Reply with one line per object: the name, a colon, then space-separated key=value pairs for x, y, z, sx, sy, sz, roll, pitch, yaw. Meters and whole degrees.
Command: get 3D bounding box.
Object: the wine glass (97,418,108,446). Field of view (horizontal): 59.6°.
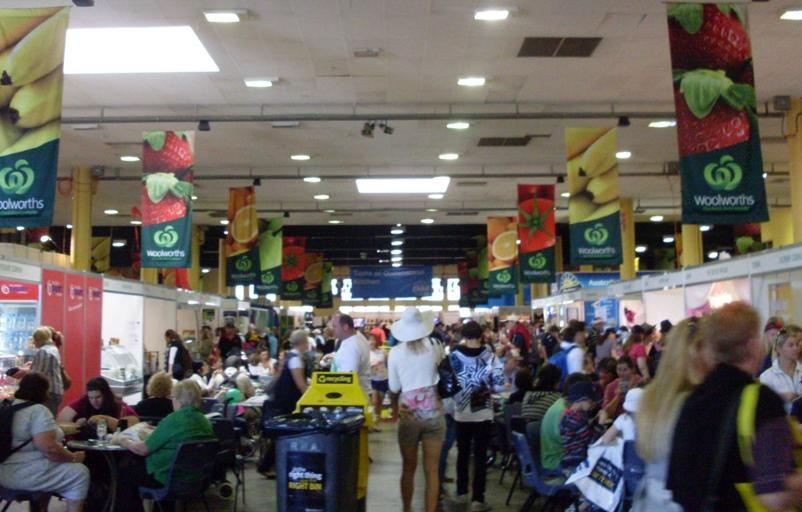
wine glass: x=-3.306 y=1.909 z=7.744 sx=0.117 sy=0.219 sz=0.304 roll=2 pitch=-11 yaw=-24
